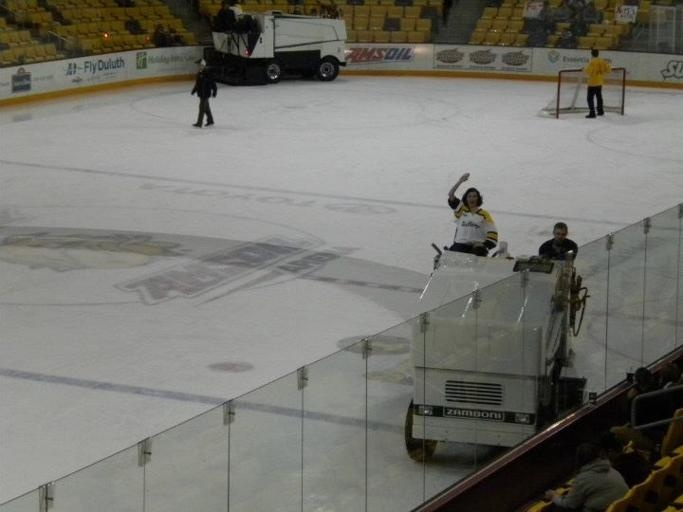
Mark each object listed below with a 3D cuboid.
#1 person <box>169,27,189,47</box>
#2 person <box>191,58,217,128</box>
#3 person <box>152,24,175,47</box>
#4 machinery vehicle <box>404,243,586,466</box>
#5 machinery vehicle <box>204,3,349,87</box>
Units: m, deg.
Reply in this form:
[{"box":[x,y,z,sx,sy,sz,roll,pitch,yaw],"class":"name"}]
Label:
[{"box":[-5.352,-7.091,31.235,0.779,0.244,0.671,3,36,-13],"class":"person"},{"box":[-3.257,-3.911,22.643,0.623,1.478,2.226,-6,19,-7],"class":"person"},{"box":[-5.743,-7.047,30.461,0.362,0.682,0.806,7,21,26],"class":"person"},{"box":[1.522,0.859,9.247,1.581,1.627,2.971,2,8,15],"class":"machinery vehicle"},{"box":[-1.952,-6.798,30.928,4.252,1.939,2.516,-3,10,-26],"class":"machinery vehicle"}]
